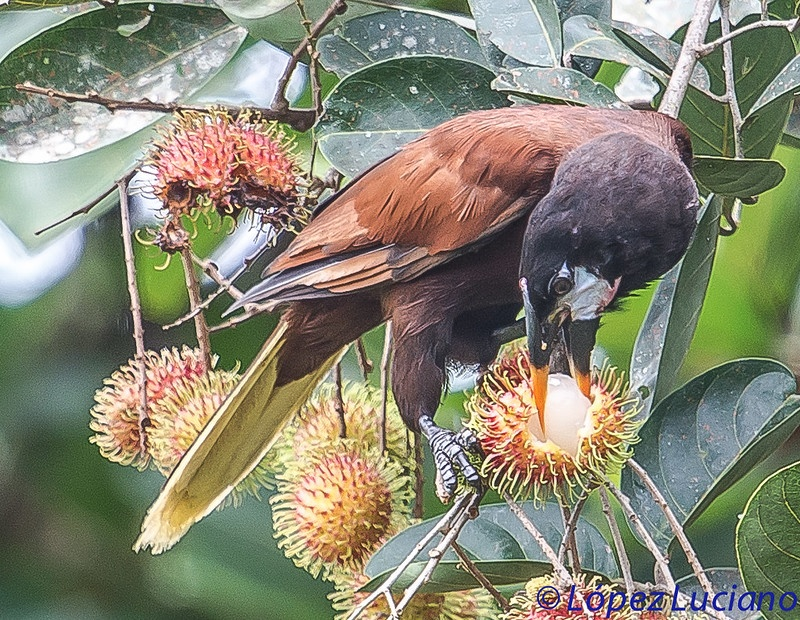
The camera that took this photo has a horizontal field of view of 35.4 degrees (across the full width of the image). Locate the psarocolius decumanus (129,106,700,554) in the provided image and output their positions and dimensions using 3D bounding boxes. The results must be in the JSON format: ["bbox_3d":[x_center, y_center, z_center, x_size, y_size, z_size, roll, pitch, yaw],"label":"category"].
[{"bbox_3d":[0.013,0.019,1.893,0.864,0.315,0.563,-4,81,21],"label":"psarocolius decumanus"}]
